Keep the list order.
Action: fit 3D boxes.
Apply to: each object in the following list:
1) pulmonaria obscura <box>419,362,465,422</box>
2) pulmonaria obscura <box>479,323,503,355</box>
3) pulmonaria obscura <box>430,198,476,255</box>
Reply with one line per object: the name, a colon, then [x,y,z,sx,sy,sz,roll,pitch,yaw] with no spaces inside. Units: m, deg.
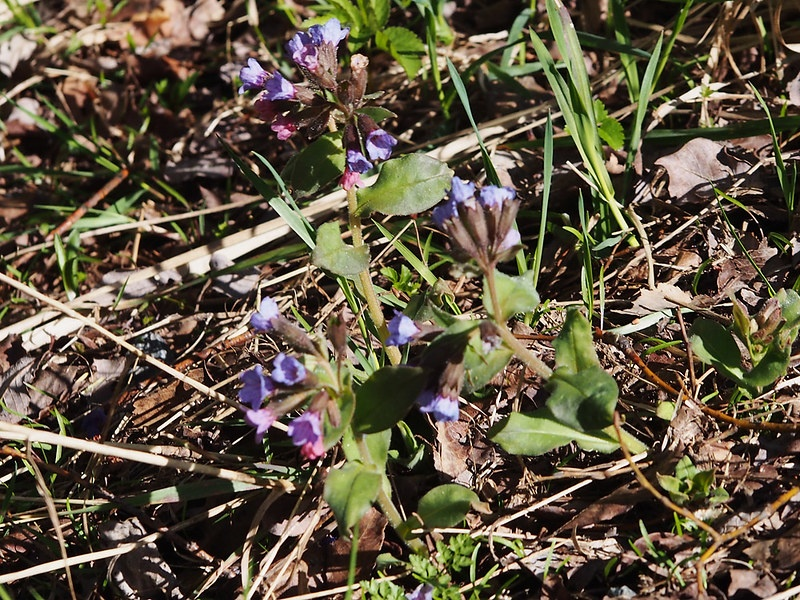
pulmonaria obscura: [0.163,0.357,2.846,0.131,0.092,0.229,25,93,10]
pulmonaria obscura: [0.319,0.134,2.769,0.078,0.041,0.110,-11,105,4]
pulmonaria obscura: [0.203,-0.240,2.853,0.149,0.217,0.175,-3,63,9]
